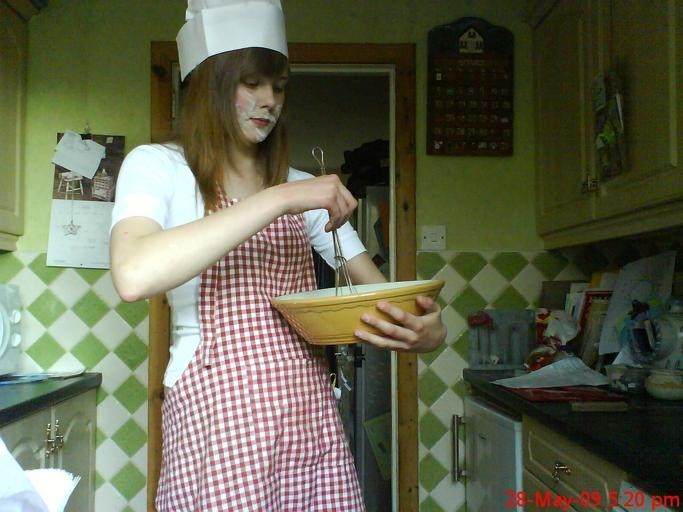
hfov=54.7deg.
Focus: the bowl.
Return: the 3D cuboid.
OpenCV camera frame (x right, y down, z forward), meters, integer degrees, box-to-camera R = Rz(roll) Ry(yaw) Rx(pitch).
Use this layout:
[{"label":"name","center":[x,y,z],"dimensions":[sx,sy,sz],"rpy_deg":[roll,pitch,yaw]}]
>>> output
[{"label":"bowl","center":[-0.013,0.148,1.580],"dimensions":[0.236,0.089,0.246],"rpy_deg":[-13,-14,-3]}]
